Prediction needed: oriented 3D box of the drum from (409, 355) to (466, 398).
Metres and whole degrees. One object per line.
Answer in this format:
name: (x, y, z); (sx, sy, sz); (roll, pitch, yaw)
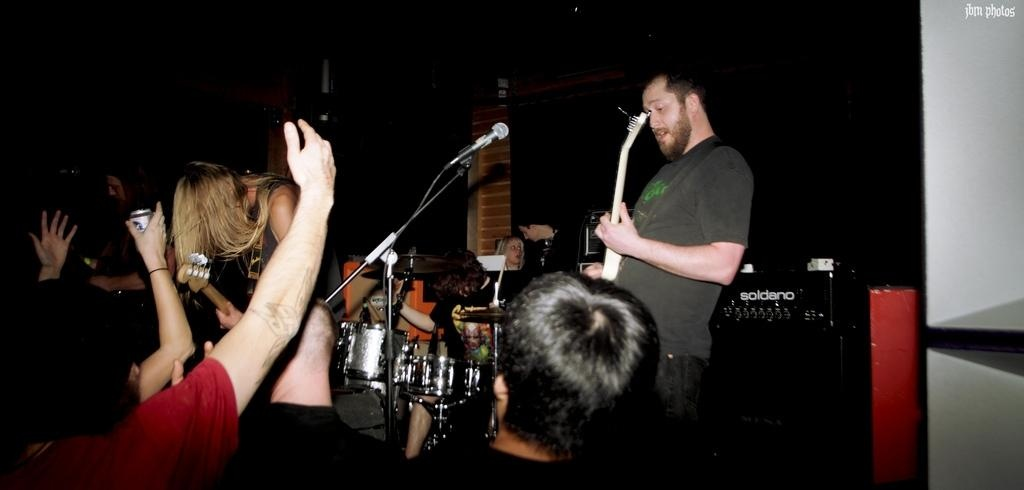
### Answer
drum: (-0.844, 1.444, 7.225); (0.601, 0.313, 0.579); (-2, -14, -1)
